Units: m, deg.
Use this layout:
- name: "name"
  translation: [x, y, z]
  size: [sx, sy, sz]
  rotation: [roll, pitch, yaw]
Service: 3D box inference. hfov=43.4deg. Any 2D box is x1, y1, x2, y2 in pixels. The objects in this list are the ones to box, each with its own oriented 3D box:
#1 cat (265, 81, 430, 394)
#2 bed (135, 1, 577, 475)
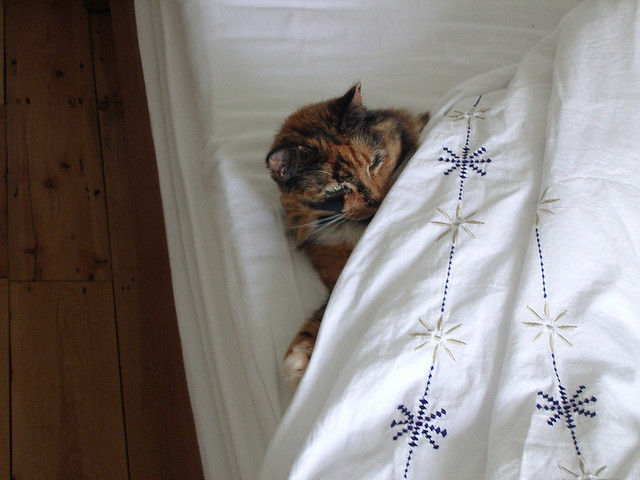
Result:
- name: "cat"
  translation: [0.053, -0.062, 2.105]
  size: [0.260, 0.472, 0.939]
  rotation: [-21, 3, 0]
- name: "bed"
  translation: [0.034, -0.112, 2.374]
  size: [0.863, 1.566, 0.287]
  rotation: [-2, -16, -4]
